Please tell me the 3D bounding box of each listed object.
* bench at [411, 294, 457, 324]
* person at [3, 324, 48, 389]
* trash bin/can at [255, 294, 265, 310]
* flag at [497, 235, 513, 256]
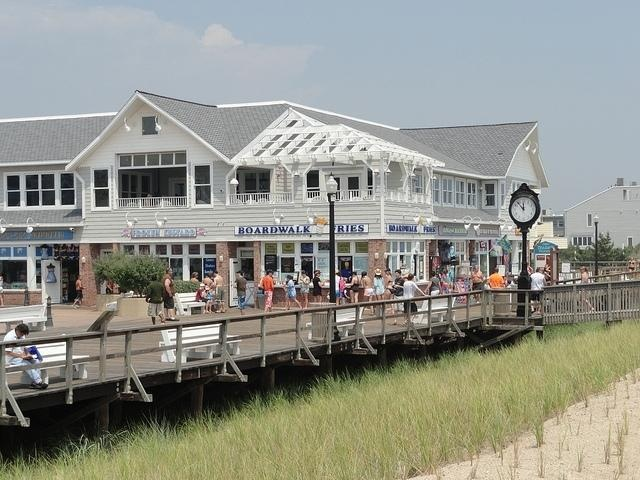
[{"bbox_3d":[3.451,2.103,32.623,1.242,0.830,4.922,-3,-4,5],"label":"bench"},{"bbox_3d":[-5.810,2.283,21.066,0.789,1.293,2.104,-1,-4,-17],"label":"person"},{"bbox_3d":[-2.432,2.476,43.306,0.487,0.692,0.472,0,-1,0],"label":"trash bin/can"},{"bbox_3d":[9.519,0.217,55.178,0.167,1.004,0.913,-3,5,-26],"label":"flag"}]
